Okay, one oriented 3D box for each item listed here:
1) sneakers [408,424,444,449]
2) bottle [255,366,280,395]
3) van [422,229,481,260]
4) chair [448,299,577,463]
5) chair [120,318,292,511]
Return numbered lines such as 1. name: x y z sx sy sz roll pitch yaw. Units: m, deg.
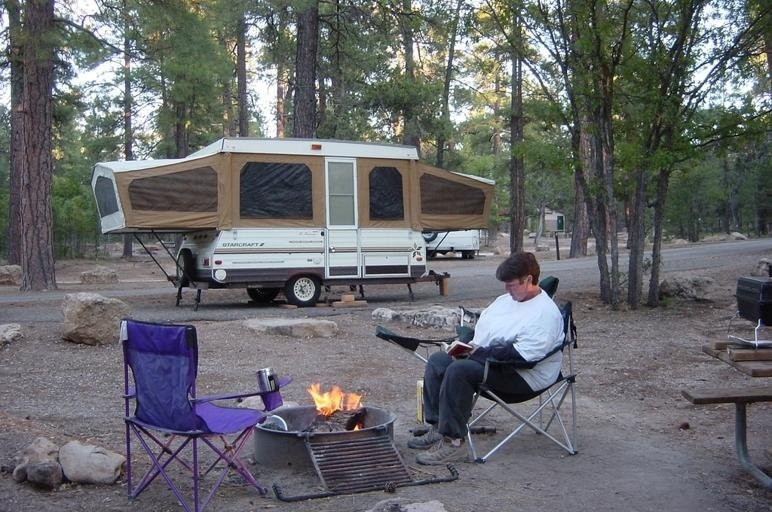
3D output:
1. sneakers: 0.436 2.056 8.868 0.410 0.183 0.194 4 -5 -6
2. bottle: -1.245 1.269 8.180 0.242 0.333 0.230 -16 1 0
3. van: 2.865 -0.540 32.227 1.946 1.045 1.378 -1 1 -10
4. chair: 1.706 1.580 9.657 1.623 2.202 1.575 2 -7 -4
5. chair: -2.029 1.563 8.125 1.620 1.888 1.023 0 4 21
